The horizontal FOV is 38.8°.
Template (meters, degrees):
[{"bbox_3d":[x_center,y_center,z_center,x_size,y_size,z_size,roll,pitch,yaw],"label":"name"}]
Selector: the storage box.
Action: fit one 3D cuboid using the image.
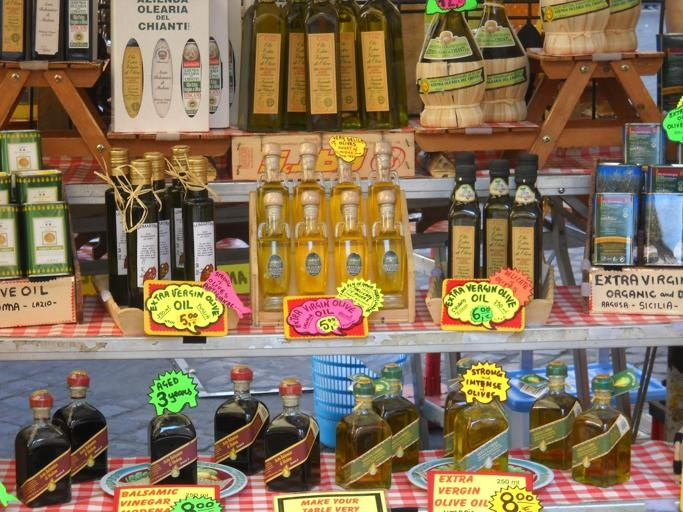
[{"bbox_3d":[0.848,0.540,3.391,0.703,0.378,0.337,-1,7,-5],"label":"storage box"}]
